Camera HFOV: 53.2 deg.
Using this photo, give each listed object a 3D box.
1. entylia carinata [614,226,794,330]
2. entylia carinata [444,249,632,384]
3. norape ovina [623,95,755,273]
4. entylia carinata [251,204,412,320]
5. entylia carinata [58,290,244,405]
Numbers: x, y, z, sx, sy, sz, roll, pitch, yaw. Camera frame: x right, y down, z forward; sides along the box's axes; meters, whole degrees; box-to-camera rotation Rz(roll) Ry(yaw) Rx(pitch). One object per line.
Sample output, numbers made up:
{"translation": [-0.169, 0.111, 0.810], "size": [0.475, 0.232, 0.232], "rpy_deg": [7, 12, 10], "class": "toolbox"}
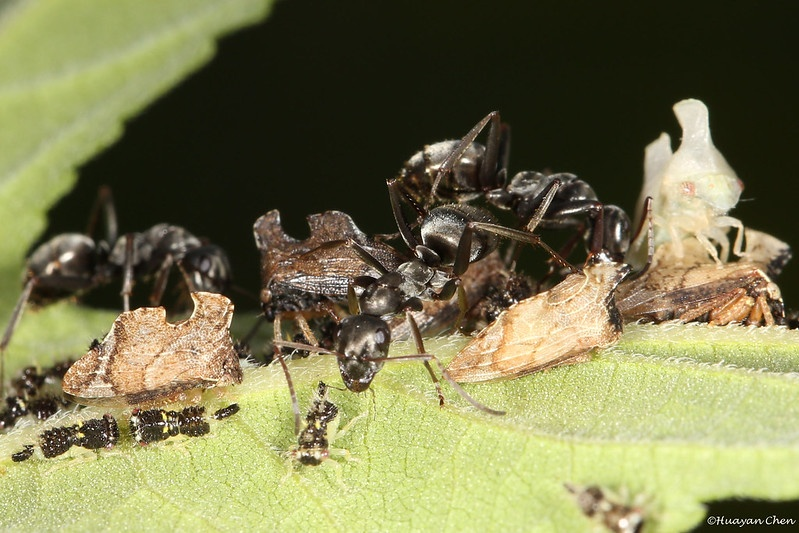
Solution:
{"translation": [1.661, 0.105, 4.226], "size": [0.716, 0.314, 1.084], "rpy_deg": [12, 28, 35], "class": "entylia carinata"}
{"translation": [0.662, 0.270, 3.778], "size": [0.907, 0.480, 0.250], "rpy_deg": [-6, 24, -3], "class": "entylia carinata"}
{"translation": [1.588, -0.391, 4.378], "size": [0.425, 1.085, 0.571], "rpy_deg": [2, 2, 3], "class": "norape ovina"}
{"translation": [-0.462, -0.024, 4.389], "size": [0.634, 0.608, 0.299], "rpy_deg": [-10, 24, -11], "class": "entylia carinata"}
{"translation": [-1.186, 0.391, 3.755], "size": [0.823, 0.504, 0.175], "rpy_deg": [-5, 24, -1], "class": "entylia carinata"}
